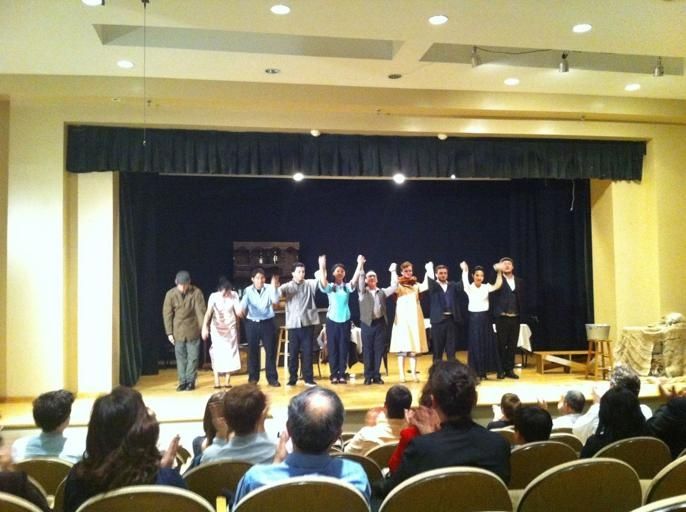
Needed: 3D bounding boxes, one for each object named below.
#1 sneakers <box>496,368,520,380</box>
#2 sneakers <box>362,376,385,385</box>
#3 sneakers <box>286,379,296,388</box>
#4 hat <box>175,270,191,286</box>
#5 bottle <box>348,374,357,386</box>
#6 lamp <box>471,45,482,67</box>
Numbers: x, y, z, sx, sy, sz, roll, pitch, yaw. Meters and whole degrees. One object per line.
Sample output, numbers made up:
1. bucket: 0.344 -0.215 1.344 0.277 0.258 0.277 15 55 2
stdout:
1. sneakers: 2.211 1.621 8.446 0.392 0.176 0.133 -1 0 1
2. sneakers: 0.399 1.619 7.946 0.250 0.105 0.095 0 -1 -8
3. sneakers: -0.669 1.633 7.833 0.057 0.064 0.150 -4 -16 22
4. hat: -2.222 0.317 8.506 0.162 0.207 0.192 4 27 -7
5. bottle: 0.121 1.657 8.188 0.060 0.115 0.061 0 2 0
6. lamp: 1.513 -2.265 6.991 0.111 0.238 0.357 -3 -1 13
